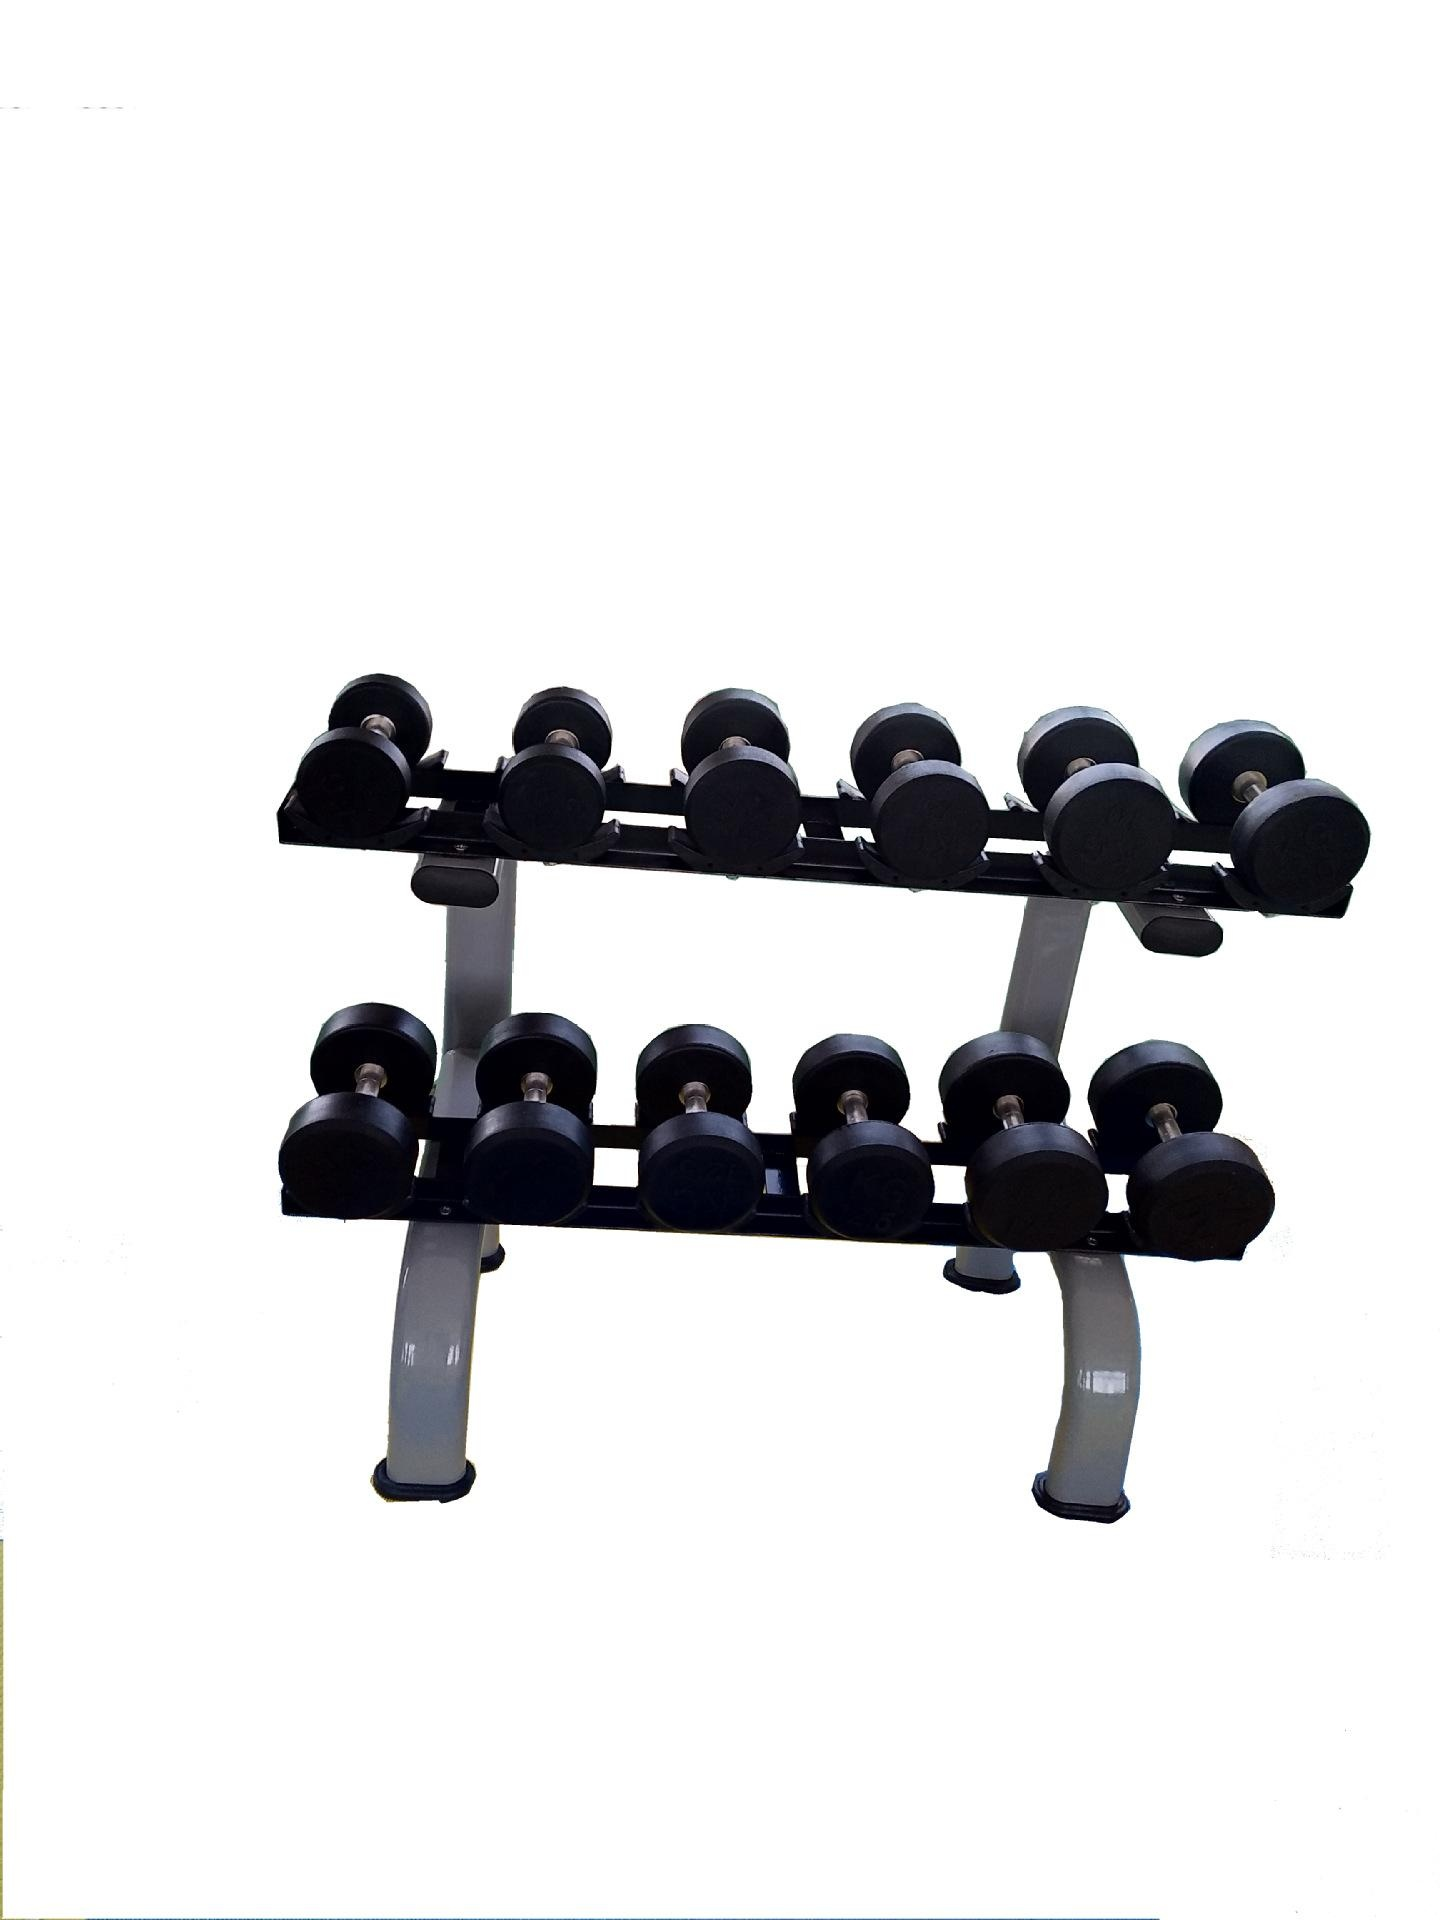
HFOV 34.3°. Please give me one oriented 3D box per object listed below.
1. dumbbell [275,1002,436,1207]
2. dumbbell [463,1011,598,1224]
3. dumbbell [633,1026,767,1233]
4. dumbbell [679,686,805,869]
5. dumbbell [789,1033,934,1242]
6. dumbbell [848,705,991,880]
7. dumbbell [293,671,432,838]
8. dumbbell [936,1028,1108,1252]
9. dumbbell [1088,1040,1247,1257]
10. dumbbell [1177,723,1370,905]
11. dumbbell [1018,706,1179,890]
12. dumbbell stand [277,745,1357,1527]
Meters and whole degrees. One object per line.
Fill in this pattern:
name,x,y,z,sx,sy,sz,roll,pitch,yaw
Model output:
dumbbell,-0.372,0.163,2.432,0.131,0.262,0.114,1,-58,2
dumbbell,-0.203,0.173,2.581,0.150,0.292,0.123,-3,-64,-2
dumbbell,-0.020,0.190,2.460,0.140,0.283,0.122,-4,-63,1
dumbbell,0.023,-0.174,2.415,0.148,0.303,0.132,-9,-63,5
dumbbell,0.150,0.201,2.463,0.156,0.308,0.129,1,-73,3
dumbbell,0.209,-0.161,2.430,0.138,0.290,0.118,-9,-64,0
dumbbell,-0.386,-0.229,2.541,0.131,0.254,0.106,-3,-64,-4
dumbbell,0.341,0.197,2.596,0.149,0.288,0.121,-5,-64,-1
dumbbell,0.519,0.213,2.610,0.163,0.295,0.135,-5,-65,-2
dumbbell,0.566,-0.135,2.390,0.123,0.247,0.107,16,-66,-5
dumbbell,0.417,-0.181,2.579,0.149,0.303,0.127,-3,-68,2
dumbbell stand,0.012,0.179,2.649,1.309,0.586,0.733,7,-83,-23
